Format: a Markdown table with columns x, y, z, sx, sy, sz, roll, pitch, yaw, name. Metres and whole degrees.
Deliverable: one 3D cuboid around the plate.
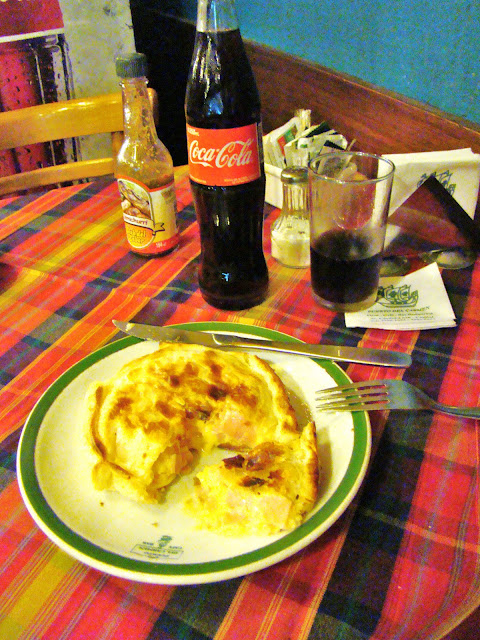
| x | y | z | sx | sy | sz | roll | pitch | yaw | name |
| --- | --- | --- | --- | --- | --- | --- | --- | --- | --- |
| -0.049 | 0.121 | 0.545 | 0.345 | 0.049 | 0.318 | 9 | 35 | 18 | plate |
